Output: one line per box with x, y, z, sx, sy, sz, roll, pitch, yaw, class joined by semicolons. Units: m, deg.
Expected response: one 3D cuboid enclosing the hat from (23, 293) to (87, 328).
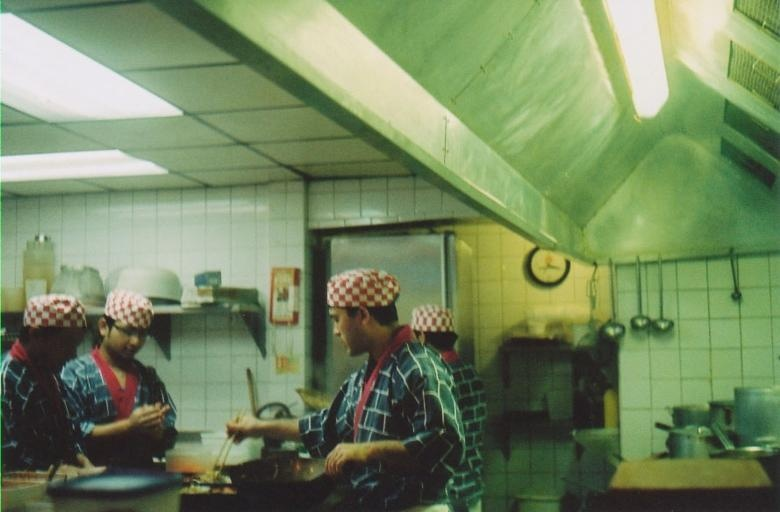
-1.506;0.252;3.725;0.179;0.106;0.180;3;-6;-6;hat

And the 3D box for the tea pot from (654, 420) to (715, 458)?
1.556;0.974;4.401;0.254;0.166;0.170;-9;-13;44;tea pot

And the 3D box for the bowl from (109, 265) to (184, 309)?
-1.369;0.193;4.743;0.259;0.128;0.266;1;-7;0;bowl

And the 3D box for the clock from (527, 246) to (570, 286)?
0.950;0.065;5.034;0.295;0.260;0.060;2;-6;-17;clock

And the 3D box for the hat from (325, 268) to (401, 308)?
-0.116;0.143;3.513;0.223;0.113;0.170;-7;-6;37;hat

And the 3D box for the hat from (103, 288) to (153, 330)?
-1.188;0.251;3.833;0.186;0.118;0.191;21;4;24;hat
